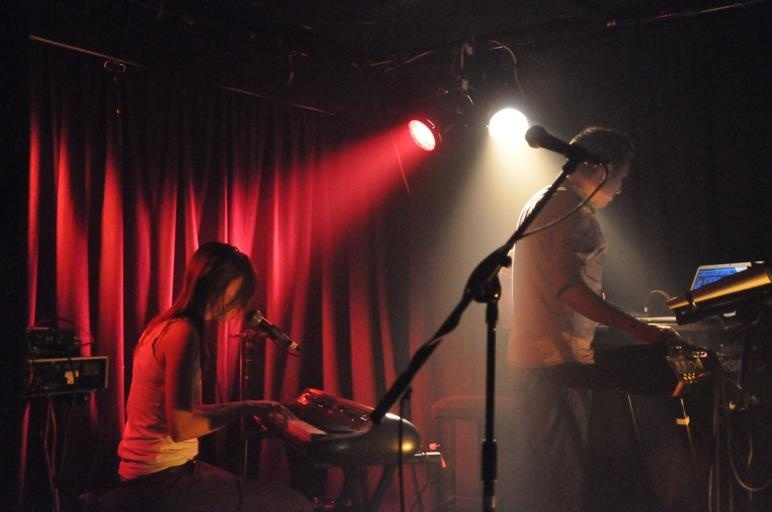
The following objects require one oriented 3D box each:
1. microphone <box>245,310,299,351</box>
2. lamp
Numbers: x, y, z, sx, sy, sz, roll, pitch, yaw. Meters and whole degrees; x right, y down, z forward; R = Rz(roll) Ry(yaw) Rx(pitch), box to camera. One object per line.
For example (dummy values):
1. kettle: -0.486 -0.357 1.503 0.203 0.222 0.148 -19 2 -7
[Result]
1. microphone: -0.888 0.576 5.400 0.493 0.145 0.155 32 15 19
2. lamp: 0.457 -1.096 5.546 0.569 0.440 0.250 -12 -23 43
